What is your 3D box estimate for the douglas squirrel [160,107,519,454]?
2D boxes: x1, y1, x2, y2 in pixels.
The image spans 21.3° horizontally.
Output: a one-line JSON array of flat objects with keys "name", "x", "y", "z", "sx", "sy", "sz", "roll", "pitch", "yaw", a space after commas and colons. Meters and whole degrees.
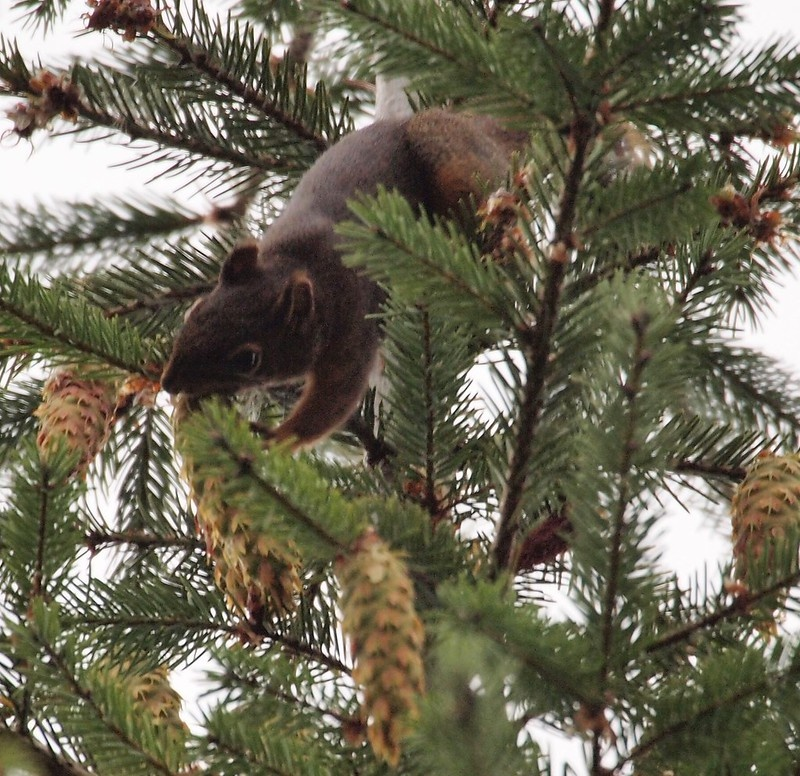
[{"name": "douglas squirrel", "x": -0.078, "y": -0.159, "z": 3.138, "sx": 0.139, "sy": 0.499, "sz": 0.170, "roll": 23, "pitch": -15, "yaw": 23}]
